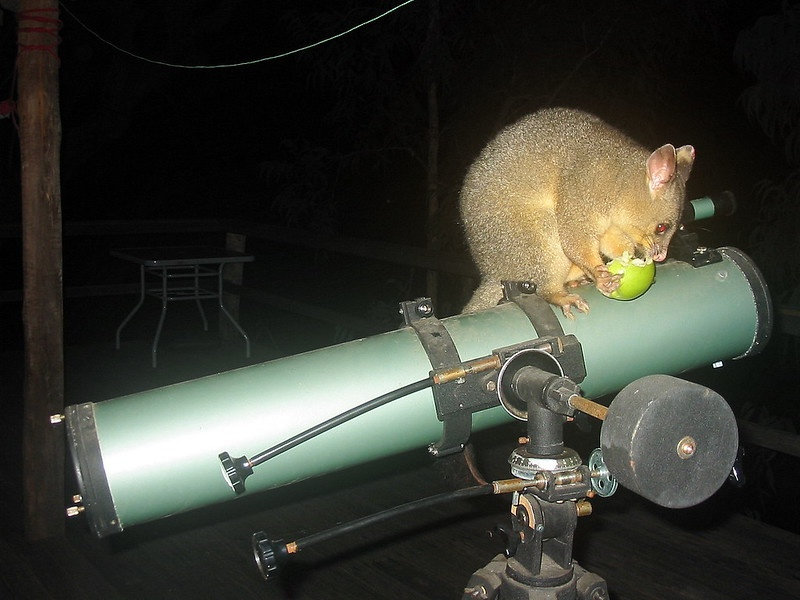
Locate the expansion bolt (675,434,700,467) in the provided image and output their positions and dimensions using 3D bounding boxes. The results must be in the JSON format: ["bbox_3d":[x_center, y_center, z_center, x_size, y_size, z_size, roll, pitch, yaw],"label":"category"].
[{"bbox_3d":[0.648,0.336,1.509,0.054,0.057,0.010,-5,13,-16],"label":"expansion bolt"}]

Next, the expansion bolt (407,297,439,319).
[{"bbox_3d":[0.072,0.023,2.191,0.073,0.066,0.072,-7,-19,-31],"label":"expansion bolt"}]

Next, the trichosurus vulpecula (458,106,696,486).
[{"bbox_3d":[0.781,-0.029,3.360,1.005,1.720,0.910,-3,13,-22],"label":"trichosurus vulpecula"}]

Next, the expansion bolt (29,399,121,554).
[{"bbox_3d":[-0.871,0.471,1.881,0.114,0.490,0.337,-9,3,-24],"label":"expansion bolt"}]
